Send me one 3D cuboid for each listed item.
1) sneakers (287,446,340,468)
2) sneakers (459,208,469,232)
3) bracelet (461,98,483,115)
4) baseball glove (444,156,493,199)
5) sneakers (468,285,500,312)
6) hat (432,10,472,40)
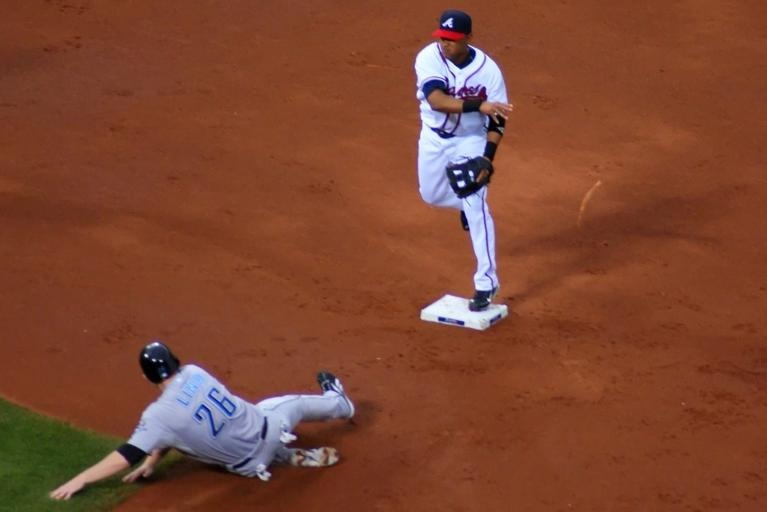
[{"bbox_3d":[-0.850,2.405,14.593,0.442,0.180,0.273,-1,42,-2],"label":"sneakers"},{"bbox_3d":[1.020,-0.522,16.205,0.083,0.198,0.288,-4,50,3],"label":"sneakers"},{"bbox_3d":[1.095,-1.923,15.410,0.252,0.143,0.135,0,50,4],"label":"bracelet"},{"bbox_3d":[1.087,-1.047,15.708,0.590,0.438,0.413,-4,50,0],"label":"baseball glove"},{"bbox_3d":[1.303,0.524,16.165,0.191,0.222,0.439,14,43,35],"label":"sneakers"},{"bbox_3d":[0.913,-2.956,15.525,0.312,0.283,0.457,26,39,30],"label":"hat"}]
